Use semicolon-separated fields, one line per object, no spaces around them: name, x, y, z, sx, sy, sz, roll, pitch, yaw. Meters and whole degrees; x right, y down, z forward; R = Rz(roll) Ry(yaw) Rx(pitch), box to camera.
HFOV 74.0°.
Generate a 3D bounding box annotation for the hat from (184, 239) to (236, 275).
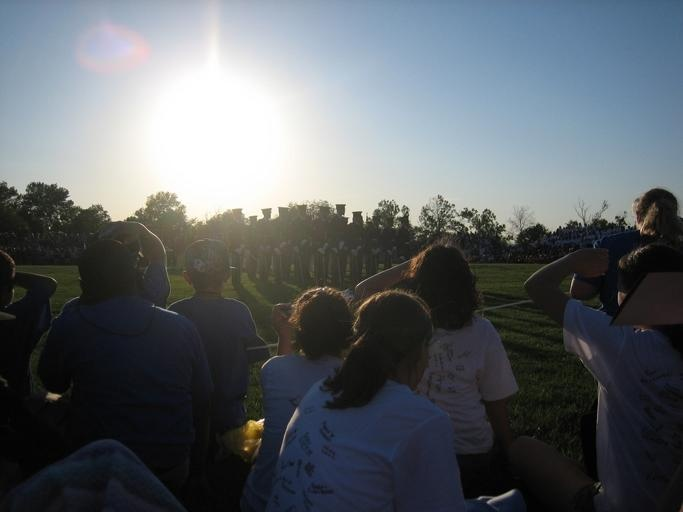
hat;-1.125;0.007;3.794;0.232;0.206;0.342;1;2;-7
